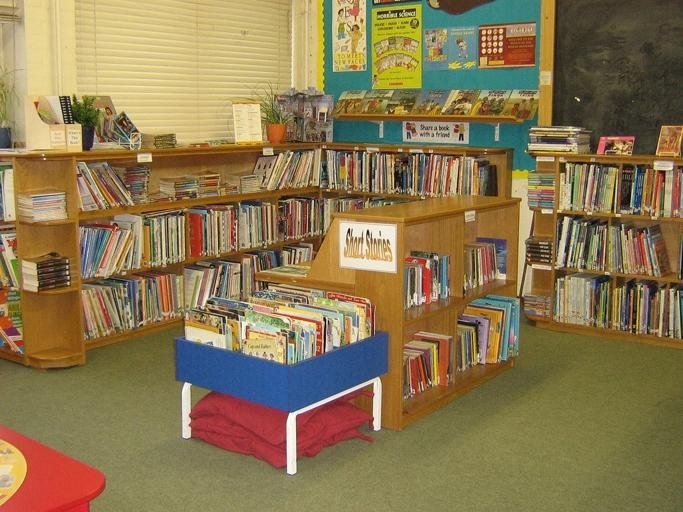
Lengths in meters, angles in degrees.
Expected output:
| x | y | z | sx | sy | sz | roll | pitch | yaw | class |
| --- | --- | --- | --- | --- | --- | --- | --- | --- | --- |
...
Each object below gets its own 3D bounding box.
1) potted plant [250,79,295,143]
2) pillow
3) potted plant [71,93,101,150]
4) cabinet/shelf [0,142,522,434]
| x | y | z | sx | sy | sz | roll | pitch | yaw | class |
| --- | --- | --- | --- | --- | --- | --- | --- | --- | --- |
| -0.744 | -1.598 | 6.505 | 0.358 | 0.596 | 0.589 | -9 | 9 | -30 | potted plant |
| -0.258 | 0.987 | 3.301 | 0.556 | 0.167 | 0.567 | 8 | 11 | 41 | pillow |
| -2.175 | -1.127 | 4.733 | 0.260 | 0.411 | 0.254 | -6 | 14 | -28 | potted plant |
| 0.075 | 0.083 | 4.891 | 2.901 | 1.492 | 2.929 | 6 | 14 | 29 | cabinet/shelf |
